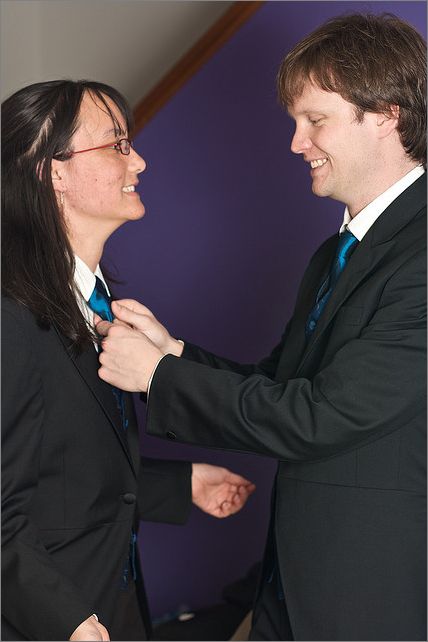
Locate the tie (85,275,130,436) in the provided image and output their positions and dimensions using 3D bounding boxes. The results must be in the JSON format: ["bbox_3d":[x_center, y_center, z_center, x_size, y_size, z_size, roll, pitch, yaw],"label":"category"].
[{"bbox_3d":[-0.261,0.062,1.269,0.072,0.380,0.102,-2,-16,-17],"label":"tie"}]

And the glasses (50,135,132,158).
[{"bbox_3d":[-0.266,-0.372,1.192,0.077,0.021,0.071,-13,6,3],"label":"glasses"}]
